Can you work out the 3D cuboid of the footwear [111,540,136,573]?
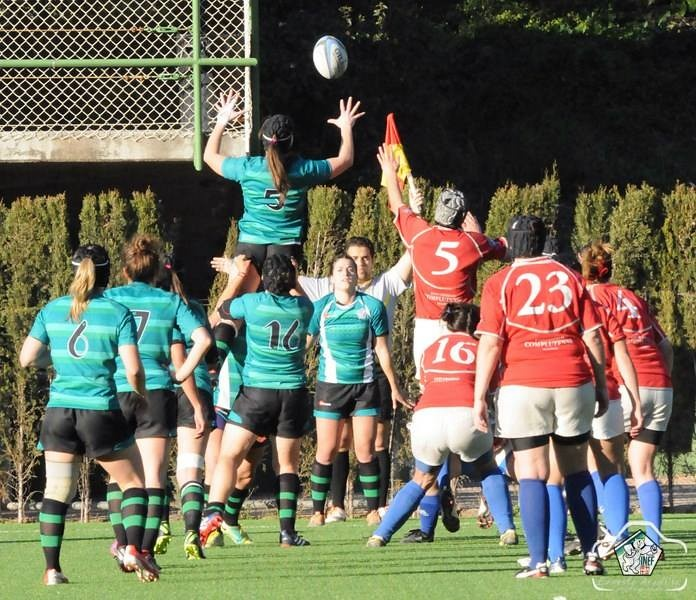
[{"bbox_3d":[-1.807,2.037,10.917,0.148,0.245,0.465,-3,10,-9],"label":"footwear"}]

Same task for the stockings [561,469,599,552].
[{"bbox_3d":[1.803,1.651,10.410,0.156,0.659,0.148,-12,-3,9],"label":"stockings"}]

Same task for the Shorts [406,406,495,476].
[{"bbox_3d":[0.823,0.974,11.151,0.594,0.645,0.454,-1,14,6],"label":"Shorts"}]

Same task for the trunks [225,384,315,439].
[{"bbox_3d":[-0.644,0.888,11.608,0.664,0.523,0.391,5,10,-8],"label":"trunks"}]

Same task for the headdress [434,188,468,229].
[{"bbox_3d":[0.924,-0.823,11.900,0.218,0.360,0.303,13,14,10],"label":"headdress"}]

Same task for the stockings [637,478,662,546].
[{"bbox_3d":[2.497,1.735,11.148,0.189,0.516,0.308,-1,-1,12],"label":"stockings"}]

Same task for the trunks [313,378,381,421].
[{"bbox_3d":[0.021,1.033,12.831,0.595,0.414,0.474,-4,41,4],"label":"trunks"}]

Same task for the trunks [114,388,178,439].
[{"bbox_3d":[-1.657,0.939,11.160,0.446,0.519,0.346,-1,7,13],"label":"trunks"}]

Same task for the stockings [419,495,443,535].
[{"bbox_3d":[0.733,1.871,11.942,0.087,0.345,0.100,8,-3,-16],"label":"stockings"}]

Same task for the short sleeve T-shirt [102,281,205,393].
[{"bbox_3d":[-1.707,0.397,11.188,0.987,1.026,0.376,-2,-24,-3],"label":"short sleeve T-shirt"}]

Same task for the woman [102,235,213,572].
[{"bbox_3d":[-1.685,0.749,11.537,1.018,2.928,0.889,7,19,8],"label":"woman"}]

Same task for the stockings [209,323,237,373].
[{"bbox_3d":[-1.133,0.436,12.236,0.100,0.432,0.218,23,0,-35],"label":"stockings"}]

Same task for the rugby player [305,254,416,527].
[{"bbox_3d":[-0.009,0.914,12.734,1.085,2.820,0.846,-3,20,-8],"label":"rugby player"}]

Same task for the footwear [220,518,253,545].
[{"bbox_3d":[-1.007,2.138,12.307,0.142,0.160,0.353,-30,-47,16],"label":"footwear"}]

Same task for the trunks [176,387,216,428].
[{"bbox_3d":[-1.283,0.849,11.608,0.248,0.422,0.402,0,-3,15],"label":"trunks"}]

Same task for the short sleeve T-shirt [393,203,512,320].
[{"bbox_3d":[0.854,-0.443,12.213,1.060,0.492,0.847,15,-12,1],"label":"short sleeve T-shirt"}]

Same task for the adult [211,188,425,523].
[{"bbox_3d":[-0.066,0.427,13.350,1.701,3.123,0.815,0,2,-8],"label":"adult"}]

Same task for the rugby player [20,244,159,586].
[{"bbox_3d":[-2.046,0.842,10.735,1.007,2.988,0.847,0,21,-12],"label":"rugby player"}]

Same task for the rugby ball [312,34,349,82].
[{"bbox_3d":[-0.145,-2.336,13.272,0.367,0.565,0.412,-3,7,-11],"label":"rugby ball"}]

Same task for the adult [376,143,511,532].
[{"bbox_3d":[0.937,0.347,12.227,1.047,3.561,0.735,0,0,3],"label":"adult"}]

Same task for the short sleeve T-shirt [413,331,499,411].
[{"bbox_3d":[0.846,0.667,11.121,0.560,0.701,0.353,-5,-39,13],"label":"short sleeve T-shirt"}]

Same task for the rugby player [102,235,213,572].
[{"bbox_3d":[-1.684,0.748,11.547,1.013,2.914,0.904,8,20,9],"label":"rugby player"}]

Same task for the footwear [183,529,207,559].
[{"bbox_3d":[-1.292,2.069,11.334,0.098,0.163,0.304,-6,-43,3],"label":"footwear"}]

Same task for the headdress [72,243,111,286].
[{"bbox_3d":[-2.017,-0.287,10.603,0.222,0.334,0.316,-1,12,-9],"label":"headdress"}]

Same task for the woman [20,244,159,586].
[{"bbox_3d":[-2.059,0.842,10.727,0.921,2.882,0.779,-3,18,-18],"label":"woman"}]

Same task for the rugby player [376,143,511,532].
[{"bbox_3d":[0.955,0.244,12.401,1.007,3.522,0.830,-3,9,-13],"label":"rugby player"}]

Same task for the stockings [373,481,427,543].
[{"bbox_3d":[0.440,1.767,11.385,0.214,0.254,0.741,24,-44,-6],"label":"stockings"}]

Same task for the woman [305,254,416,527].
[{"bbox_3d":[-0.012,0.879,12.759,1.118,2.883,0.812,-5,21,-13],"label":"woman"}]
